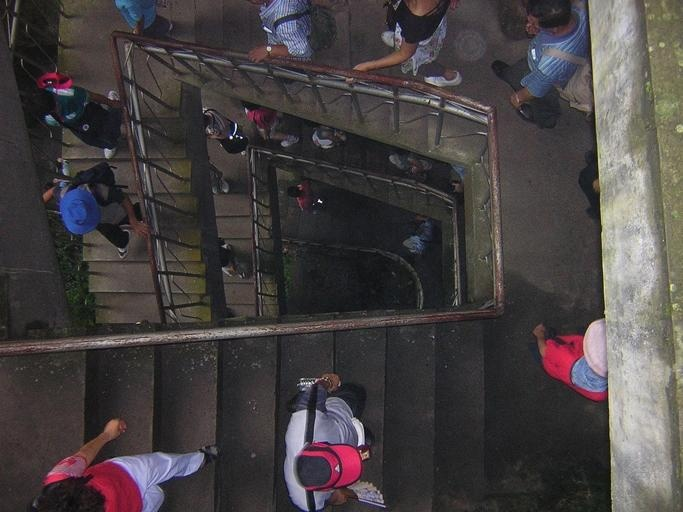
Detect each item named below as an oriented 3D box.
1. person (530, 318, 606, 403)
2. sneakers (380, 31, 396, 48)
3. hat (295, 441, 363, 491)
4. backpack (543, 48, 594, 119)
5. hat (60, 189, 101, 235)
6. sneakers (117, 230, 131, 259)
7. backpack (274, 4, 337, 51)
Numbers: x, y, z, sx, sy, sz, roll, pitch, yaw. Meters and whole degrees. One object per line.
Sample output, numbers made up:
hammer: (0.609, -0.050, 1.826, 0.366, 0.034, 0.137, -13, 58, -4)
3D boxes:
person: (3.019, 1.321, 11.231, 1.267, 1.521, 0.923, 5, 78, 5)
sneakers: (0.633, -3.017, 12.034, 0.143, 0.139, 0.263, -12, 72, -11)
hat: (-0.171, 2.561, 10.652, 0.792, 0.200, 0.539, 4, 70, -6)
backpack: (2.993, -2.315, 11.444, 0.725, 0.427, 0.638, 3, 41, -31)
hat: (-3.552, -0.615, 11.880, 0.502, 0.551, 0.547, -21, 74, -14)
sneakers: (-3.186, -0.174, 12.742, 0.150, 0.480, 0.187, 7, 29, -6)
backpack: (-0.493, -3.187, 12.013, 0.777, 0.742, 0.498, -15, 66, 2)
